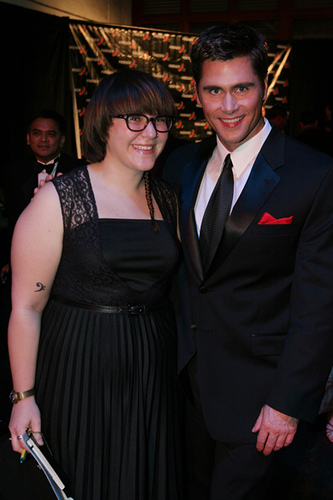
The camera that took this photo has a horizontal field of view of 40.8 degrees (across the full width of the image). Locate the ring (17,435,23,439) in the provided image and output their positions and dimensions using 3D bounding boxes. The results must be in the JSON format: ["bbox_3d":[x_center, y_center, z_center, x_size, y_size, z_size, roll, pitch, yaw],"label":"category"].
[{"bbox_3d":[-0.465,0.590,1.420,0.021,0.014,0.005,-10,19,7],"label":"ring"}]
